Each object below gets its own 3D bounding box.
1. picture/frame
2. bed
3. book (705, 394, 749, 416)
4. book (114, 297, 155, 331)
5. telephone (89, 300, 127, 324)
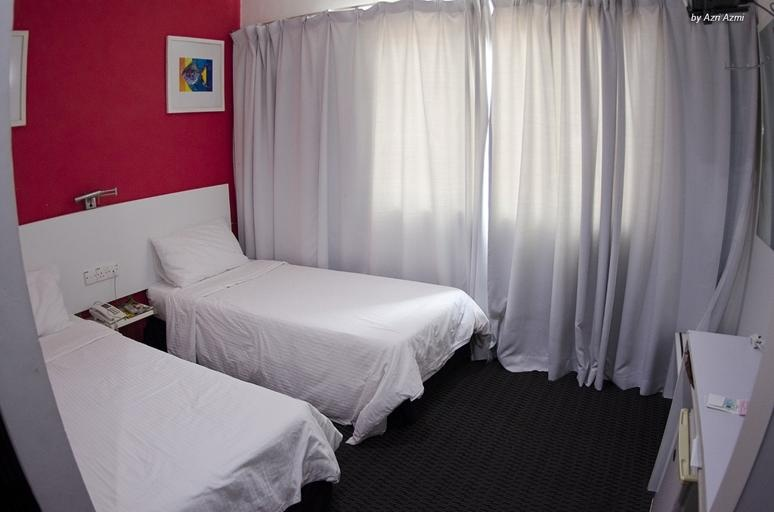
[{"bbox_3d":[-1.784,-1.689,4.704,0.026,0.658,0.628,23,27,29],"label":"picture/frame"},{"bbox_3d":[-1.512,0.754,4.029,2.108,1.477,2.191,9,16,30],"label":"bed"},{"bbox_3d":[1.599,0.701,2.392,0.165,0.044,0.138,8,22,29],"label":"book"},{"bbox_3d":[-2.108,0.460,4.156,0.235,0.070,0.253,18,29,18],"label":"book"},{"bbox_3d":[-2.228,0.492,4.059,0.240,0.108,0.156,18,44,13],"label":"telephone"}]
